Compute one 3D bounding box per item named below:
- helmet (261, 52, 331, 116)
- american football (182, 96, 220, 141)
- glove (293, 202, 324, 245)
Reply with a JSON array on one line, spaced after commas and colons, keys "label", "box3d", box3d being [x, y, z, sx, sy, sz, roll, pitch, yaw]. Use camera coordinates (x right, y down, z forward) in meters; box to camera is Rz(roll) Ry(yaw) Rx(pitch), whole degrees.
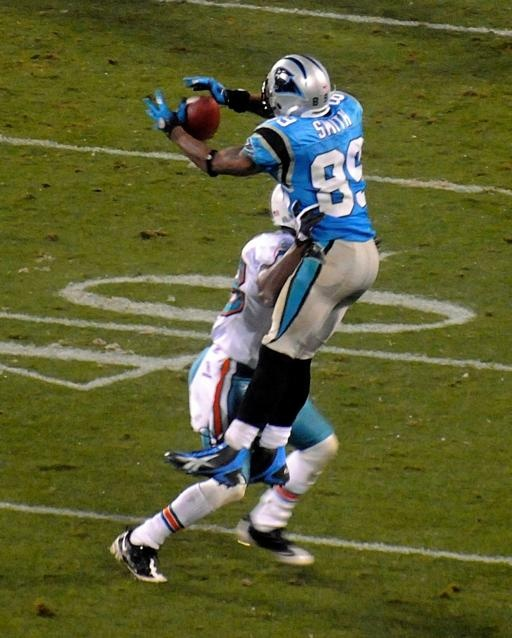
[{"label": "helmet", "box3d": [0.298, -1.325, 7.309, 0.418, 0.318, 0.477, -12, 23, -27]}, {"label": "american football", "box3d": [-0.309, -1.151, 7.505, 0.275, 0.181, 0.282, -3, 3, -8]}, {"label": "glove", "box3d": [0.289, -0.503, 6.922, 0.230, 0.149, 0.085, -39, 63, -24]}]
